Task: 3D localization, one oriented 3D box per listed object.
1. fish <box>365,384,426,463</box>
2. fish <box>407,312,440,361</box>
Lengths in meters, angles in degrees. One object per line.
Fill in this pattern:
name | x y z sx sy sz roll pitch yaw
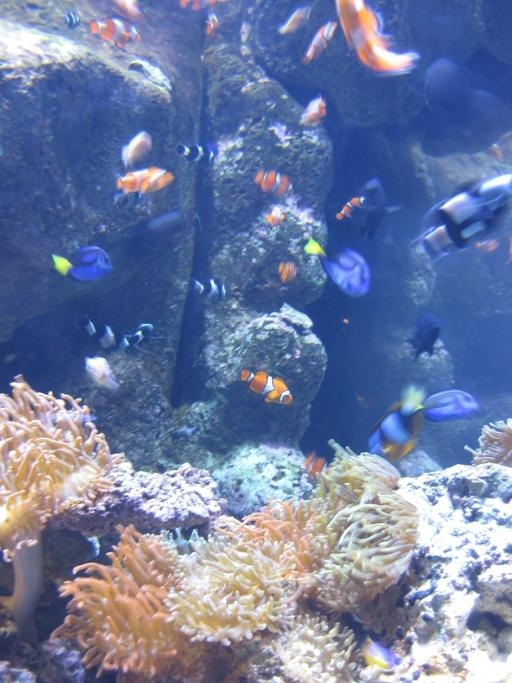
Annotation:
fish | 1.030 0.553 5.075 0.135 0.649 0.360 17 32 -33
fish | 1.434 -0.013 5.953 0.155 0.383 0.241 14 3 -35
